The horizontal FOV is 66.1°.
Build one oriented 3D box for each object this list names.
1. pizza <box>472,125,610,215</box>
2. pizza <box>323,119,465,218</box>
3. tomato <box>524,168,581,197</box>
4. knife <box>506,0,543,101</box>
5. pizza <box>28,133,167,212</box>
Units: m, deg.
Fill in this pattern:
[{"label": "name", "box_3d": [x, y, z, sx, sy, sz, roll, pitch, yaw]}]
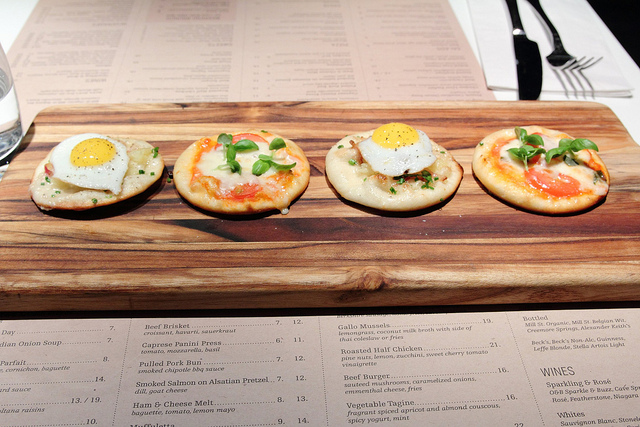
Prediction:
[{"label": "pizza", "box_3d": [1.483, -0.329, 3.270, 0.914, 0.220, 0.781, 25, 56, 13]}, {"label": "pizza", "box_3d": [0.487, -0.243, 3.086, 0.890, 0.229, 0.665, -7, 46, -6]}, {"label": "tomato", "box_3d": [1.480, -0.189, 3.142, 0.323, 0.053, 0.133, 6, 73, 0]}, {"label": "knife", "box_3d": [1.696, -1.340, 4.075, 0.211, 0.119, 1.034, -3, 63, 2]}, {"label": "pizza", "box_3d": [-1.409, -0.280, 3.090, 0.810, 0.295, 0.518, -16, 50, -14]}]
